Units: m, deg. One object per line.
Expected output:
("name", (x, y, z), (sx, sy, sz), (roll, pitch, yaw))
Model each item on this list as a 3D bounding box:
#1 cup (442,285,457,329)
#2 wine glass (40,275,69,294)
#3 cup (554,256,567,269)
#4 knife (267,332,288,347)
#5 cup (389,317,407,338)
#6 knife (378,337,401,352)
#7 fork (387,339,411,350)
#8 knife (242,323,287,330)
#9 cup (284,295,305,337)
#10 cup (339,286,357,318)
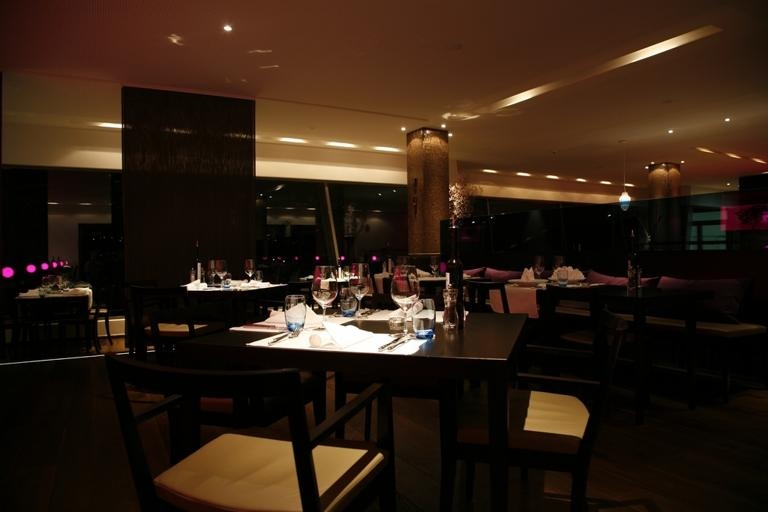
("cup", (0.492, 0.384, 4.152), (0.103, 0.311, 0.059), (-2, 2, 6))
("wine glass", (-4.486, 0.395, 7.646), (0.299, 0.288, 0.285), (2, -3, 1))
("cup", (2.166, 0.072, 6.800), (0.185, 0.181, 0.188), (1, 0, 0))
("knife", (-0.764, 0.602, 4.039), (0.042, 0.021, 0.184), (4, 14, 17))
("cup", (0.097, 0.519, 4.123), (0.113, 0.090, 0.121), (0, -9, 0))
("knife", (0.040, 0.620, 3.921), (0.046, 0.017, 0.335), (8, 8, 25))
("fork", (0.100, 0.608, 3.920), (0.041, 0.014, 0.178), (8, 16, 34))
("knife", (-0.908, 0.536, 4.253), (0.326, 0.032, 0.069), (-2, 1, 8))
("cup", (-0.655, 0.433, 4.166), (0.166, 0.286, 0.191), (-3, 2, -11))
("cup", (-0.278, 0.367, 4.435), (0.196, 0.270, 0.197), (-2, 0, 0))
